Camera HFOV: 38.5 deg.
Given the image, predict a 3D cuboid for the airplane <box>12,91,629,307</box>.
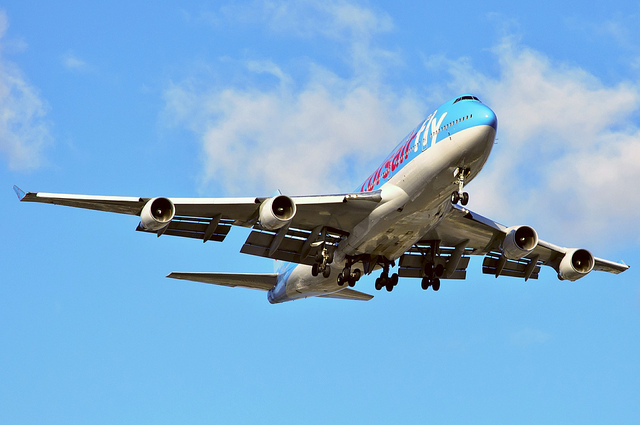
[{"bbox_3d":[1.893,0.381,37.000,17.954,6.701,10.663,11,-28,7],"label":"airplane"}]
